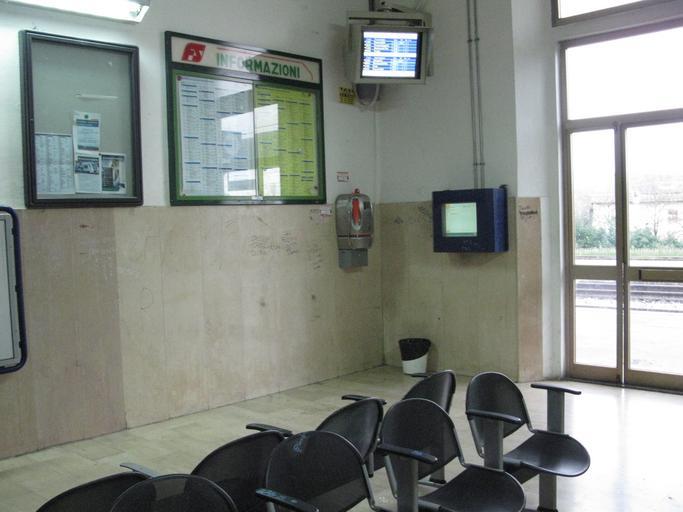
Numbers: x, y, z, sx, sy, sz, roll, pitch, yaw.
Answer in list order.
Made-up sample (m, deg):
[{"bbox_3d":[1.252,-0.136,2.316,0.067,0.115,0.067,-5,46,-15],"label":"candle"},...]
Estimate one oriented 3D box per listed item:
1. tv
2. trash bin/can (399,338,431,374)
[{"bbox_3d":[0.521,-2.024,6.348,0.879,0.666,0.501,1,19,-3],"label":"tv"},{"bbox_3d":[0.840,1.136,6.597,0.380,0.352,0.364,2,-7,-23],"label":"trash bin/can"}]
